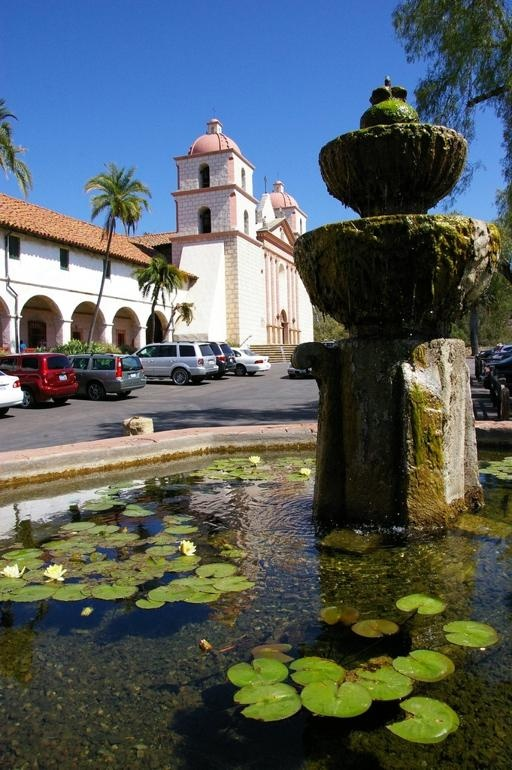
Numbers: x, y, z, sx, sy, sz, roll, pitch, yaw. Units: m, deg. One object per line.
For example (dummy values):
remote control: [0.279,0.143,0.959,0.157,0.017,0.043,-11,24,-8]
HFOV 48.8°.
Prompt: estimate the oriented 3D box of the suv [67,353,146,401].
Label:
suv: [-4.893,-0.312,18.461,2.324,1.024,1.305,6,7,30]

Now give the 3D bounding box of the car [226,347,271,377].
car: [-0.408,-1.163,29.963,2.372,0.822,1.039,5,6,30]

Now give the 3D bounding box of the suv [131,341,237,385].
suv: [-3.350,-1.003,24.782,3.388,1.397,1.716,4,6,23]
